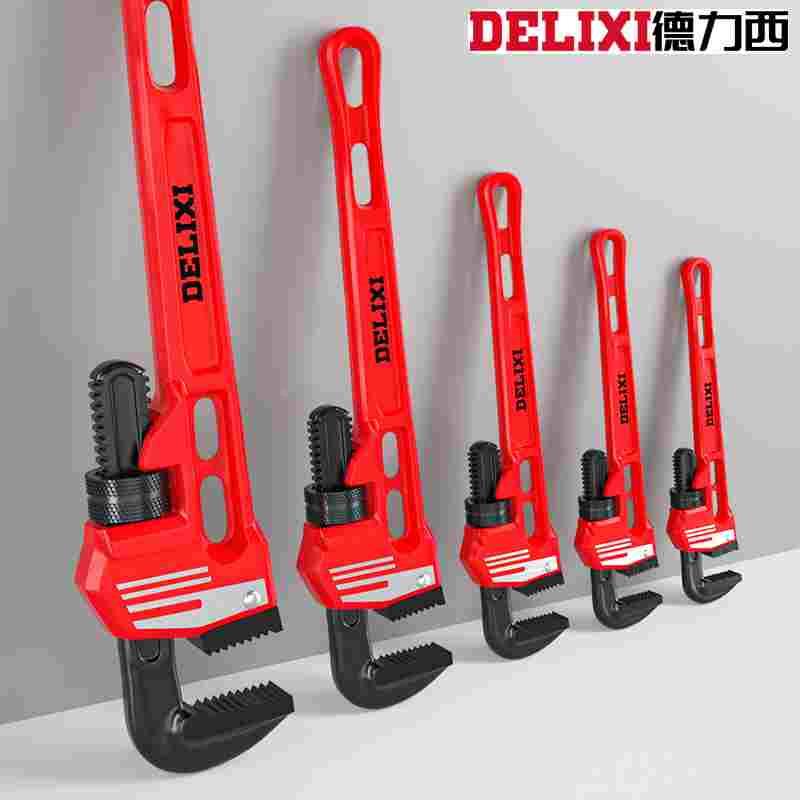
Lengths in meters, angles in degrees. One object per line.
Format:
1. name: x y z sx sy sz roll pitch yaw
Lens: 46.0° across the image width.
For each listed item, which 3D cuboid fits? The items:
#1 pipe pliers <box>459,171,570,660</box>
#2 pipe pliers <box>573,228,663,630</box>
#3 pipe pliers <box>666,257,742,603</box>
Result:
1. pipe pliers: 0.171 0.030 1.507 0.222 0.796 0.077 0 -4 -43
2. pipe pliers: 0.362 0.055 1.632 0.205 0.707 0.066 -3 0 -39
3. pipe pliers: 0.552 0.060 1.744 0.198 0.657 0.065 1 -4 -40
